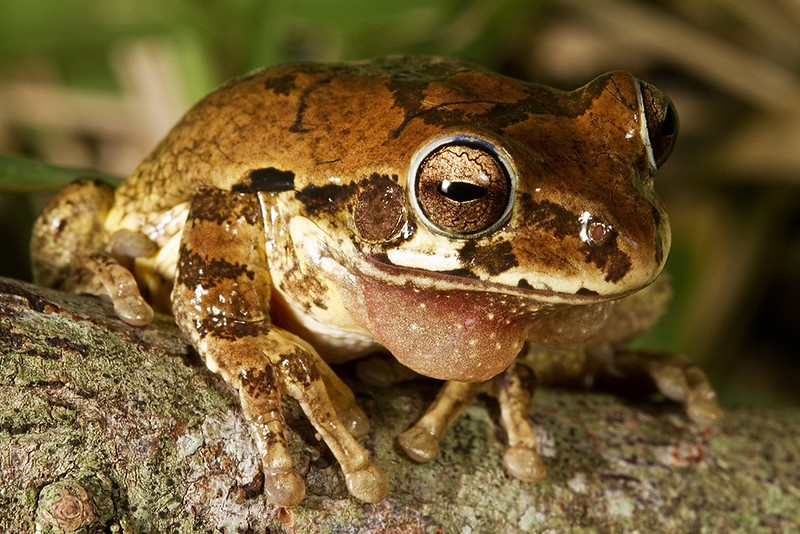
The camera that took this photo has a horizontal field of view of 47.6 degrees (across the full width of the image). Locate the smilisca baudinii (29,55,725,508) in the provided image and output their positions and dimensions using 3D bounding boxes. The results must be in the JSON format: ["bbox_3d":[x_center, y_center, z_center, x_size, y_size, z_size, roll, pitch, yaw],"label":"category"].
[{"bbox_3d":[-0.168,-0.084,4.164,2.747,1.981,1.497,0,1,-5],"label":"smilisca baudinii"}]
